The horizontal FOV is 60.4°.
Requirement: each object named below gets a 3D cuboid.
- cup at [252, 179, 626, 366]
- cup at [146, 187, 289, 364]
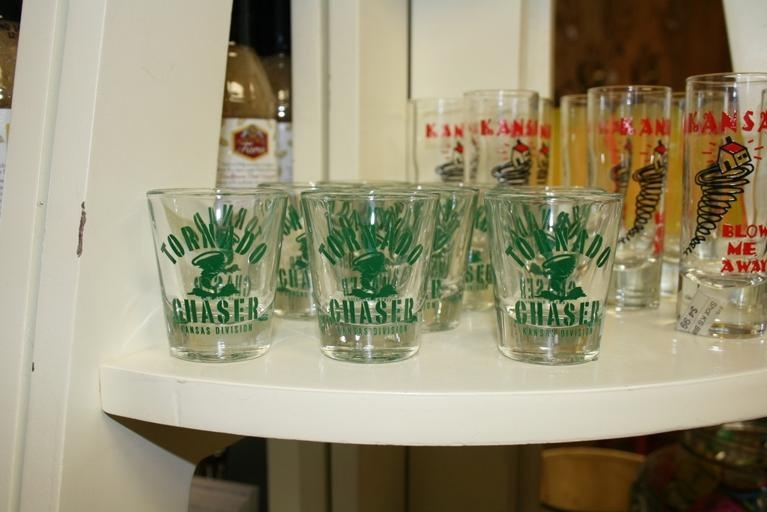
[{"bbox_3d":[0.044,0.005,0.609,0.306,0.152,0.142,-3,9,-6],"label":"cup"},{"bbox_3d":[-0.155,0.021,0.612,0.129,0.145,0.129,0,3,0],"label":"cup"}]
